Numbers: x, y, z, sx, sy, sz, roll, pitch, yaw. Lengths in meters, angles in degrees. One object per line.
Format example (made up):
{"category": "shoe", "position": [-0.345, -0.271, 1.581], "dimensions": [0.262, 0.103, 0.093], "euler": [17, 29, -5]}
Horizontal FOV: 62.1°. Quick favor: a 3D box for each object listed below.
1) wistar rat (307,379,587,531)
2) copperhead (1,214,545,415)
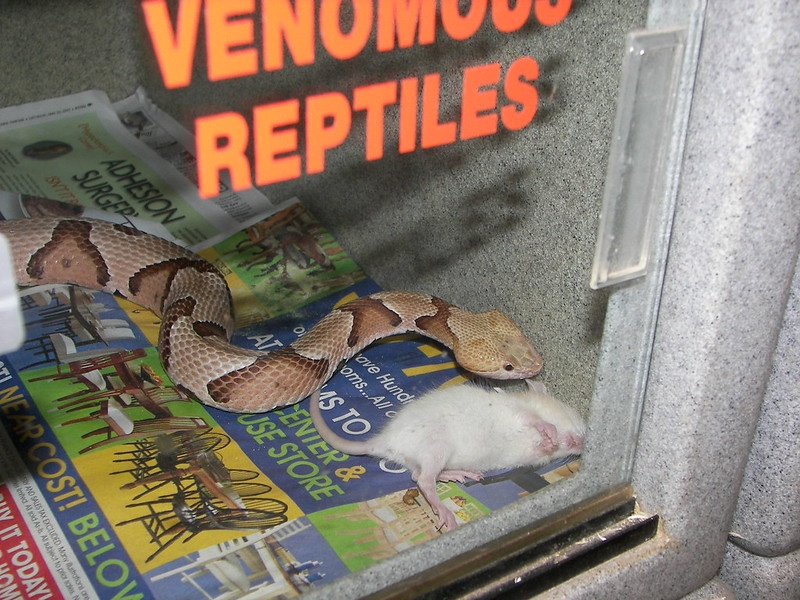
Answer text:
{"category": "wistar rat", "position": [0.074, 0.256, 1.274], "dimensions": [0.561, 0.173, 0.230], "euler": [8, -3, 6]}
{"category": "copperhead", "position": [-0.345, 0.028, 1.445], "dimensions": [1.401, 0.130, 0.381], "euler": [4, 32, 8]}
